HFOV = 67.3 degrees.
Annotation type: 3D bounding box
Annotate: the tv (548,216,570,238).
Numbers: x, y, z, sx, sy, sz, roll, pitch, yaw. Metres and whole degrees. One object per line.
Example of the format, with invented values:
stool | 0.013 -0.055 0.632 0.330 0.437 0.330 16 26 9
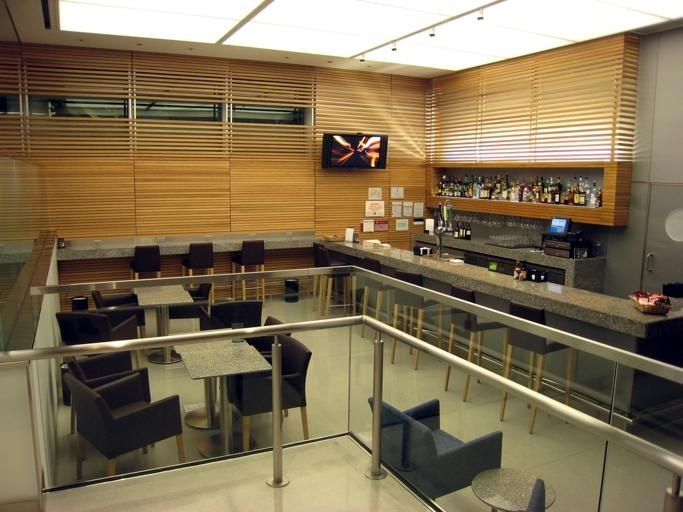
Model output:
tv | 3.230 -0.440 7.672 0.140 0.268 0.345 -6 12 -26
